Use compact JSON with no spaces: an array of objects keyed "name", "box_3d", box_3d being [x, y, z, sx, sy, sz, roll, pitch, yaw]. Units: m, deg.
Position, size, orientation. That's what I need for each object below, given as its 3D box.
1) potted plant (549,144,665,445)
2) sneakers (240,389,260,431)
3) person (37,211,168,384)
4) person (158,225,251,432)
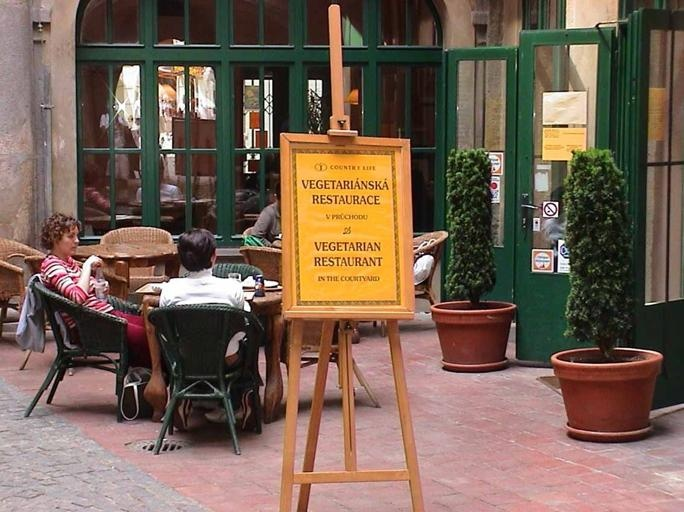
[{"name":"potted plant","box_3d":[1.894,0.256,5.978,0.739,2.040,0.682,0,5,19]},{"name":"sneakers","box_3d":[-0.667,1.138,6.121,0.103,0.361,0.119,-2,0,-9]},{"name":"person","box_3d":[-2.239,0.278,7.227,1.235,1.751,0.753,-3,-2,-7]},{"name":"person","box_3d":[-0.968,0.497,5.924,0.638,1.371,0.493,-3,5,-12]}]
